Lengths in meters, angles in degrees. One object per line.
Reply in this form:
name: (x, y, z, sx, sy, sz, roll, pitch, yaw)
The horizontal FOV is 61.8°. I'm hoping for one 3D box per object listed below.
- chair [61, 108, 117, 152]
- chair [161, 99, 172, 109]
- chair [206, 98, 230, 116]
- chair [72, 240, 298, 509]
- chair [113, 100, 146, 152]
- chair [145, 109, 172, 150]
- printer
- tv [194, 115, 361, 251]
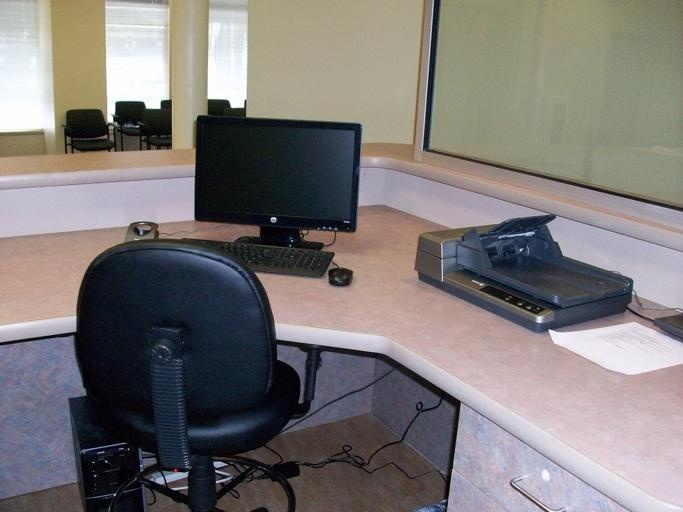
chair: (-3.119, -1.534, 6.988, 0.537, 0.531, 0.906, -8, 19, -24)
chair: (-2.395, -2.095, 7.794, 0.152, 0.102, 0.909, -5, 18, -17)
chair: (-1.678, -2.076, 7.875, 0.295, 0.189, 0.703, -3, 17, -10)
chair: (-0.396, 0.422, 1.581, 0.580, 1.030, 0.300, -3, 19, -8)
chair: (-2.836, -1.756, 7.677, 0.427, 0.645, 0.870, -6, 19, -17)
chair: (-2.360, -1.632, 7.307, 0.371, 0.504, 0.494, -6, 19, -18)
printer: (0.541, 0.045, 1.754, 0.403, 0.229, 0.511, -12, 23, -29)
tv: (-0.232, -0.266, 2.045, 0.566, 0.373, 0.155, 4, 19, 2)
